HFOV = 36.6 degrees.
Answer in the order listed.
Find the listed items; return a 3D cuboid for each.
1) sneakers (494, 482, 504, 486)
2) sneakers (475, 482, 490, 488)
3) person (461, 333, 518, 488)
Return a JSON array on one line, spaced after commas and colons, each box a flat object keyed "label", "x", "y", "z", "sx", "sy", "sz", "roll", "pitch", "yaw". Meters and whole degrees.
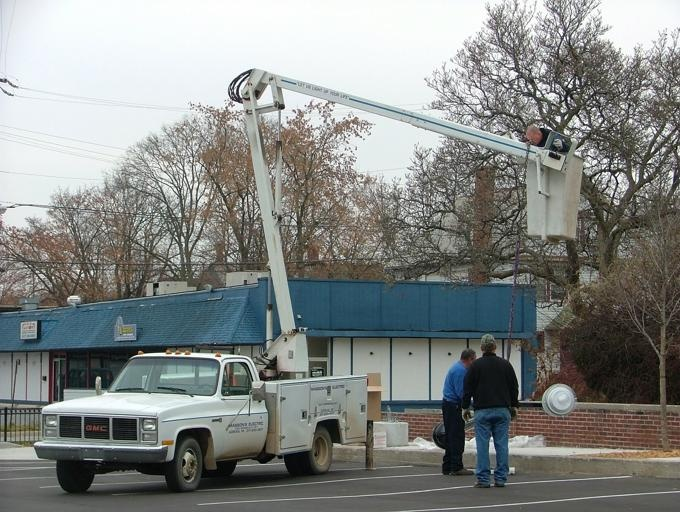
[{"label": "sneakers", "x": 3.205, "y": 4.509, "z": 20.436, "sx": 0.216, "sy": 0.104, "sz": 0.175, "roll": -1, "pitch": -10, "yaw": 1}, {"label": "sneakers", "x": 2.845, "y": 4.496, "z": 20.313, "sx": 0.329, "sy": 0.127, "sz": 0.216, "roll": -2, "pitch": -10, "yaw": 5}, {"label": "person", "x": 3.058, "y": 3.059, "z": 20.690, "sx": 1.074, "sy": 3.042, "sz": 0.666, "roll": -2, "pitch": -8, "yaw": 11}]
